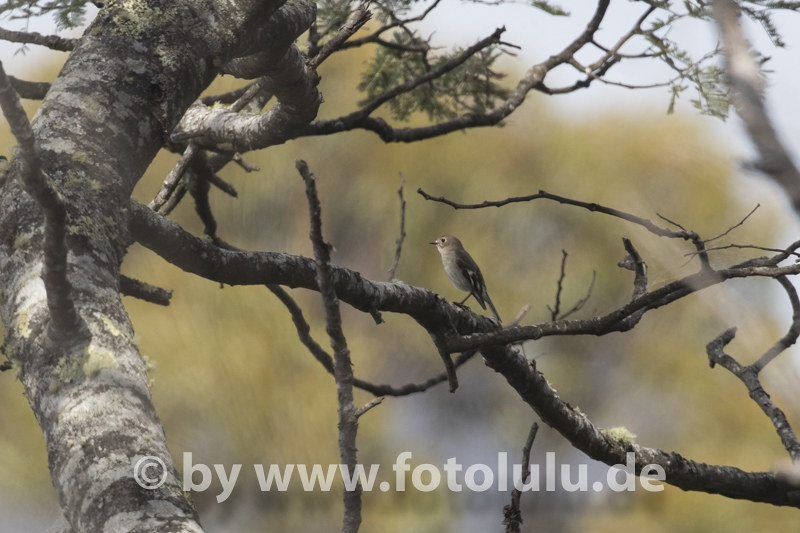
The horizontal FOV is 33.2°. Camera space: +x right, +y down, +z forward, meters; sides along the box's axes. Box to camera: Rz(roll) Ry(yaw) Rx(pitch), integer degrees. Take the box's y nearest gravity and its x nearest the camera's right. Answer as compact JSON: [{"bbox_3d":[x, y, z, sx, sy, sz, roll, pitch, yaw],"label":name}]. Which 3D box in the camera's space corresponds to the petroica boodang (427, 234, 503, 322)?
[{"bbox_3d":[0.510,0.082,10.119,0.560,0.234,0.595,6,80,-9],"label":"petroica boodang"}]
